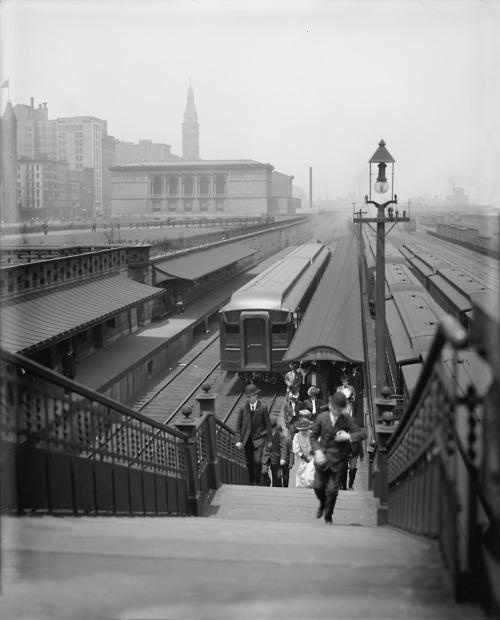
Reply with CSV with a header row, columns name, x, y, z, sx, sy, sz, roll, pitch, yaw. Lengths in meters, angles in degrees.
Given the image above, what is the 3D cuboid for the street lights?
name,x,y,z,sx,sy,sz,roll,pitch,yaw
street lights,1.580,-0.410,7.980,0.336,2.905,0.419,-1,5,7

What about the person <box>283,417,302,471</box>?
name,x,y,z,sx,sy,sz,roll,pitch,yaw
person,0.597,1.733,9.459,0.200,1.180,0.293,-1,-7,0

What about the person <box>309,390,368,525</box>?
name,x,y,z,sx,sy,sz,roll,pitch,yaw
person,0.597,1.106,5.025,0.270,1.078,0.366,-3,13,-24

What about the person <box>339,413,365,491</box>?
name,x,y,z,sx,sy,sz,roll,pitch,yaw
person,1.046,1.465,7.170,0.283,1.024,0.251,4,12,23

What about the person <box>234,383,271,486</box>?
name,x,y,z,sx,sy,sz,roll,pitch,yaw
person,0.046,1.444,7.652,0.306,1.401,0.339,0,22,5

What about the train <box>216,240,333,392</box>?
name,x,y,z,sx,sy,sz,roll,pitch,yaw
train,0.858,-0.452,17.565,1.077,2.552,6.808,0,20,10

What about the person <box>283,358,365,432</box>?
name,x,y,z,sx,sy,sz,roll,pitch,yaw
person,1.465,1.905,12.191,1.194,1.961,1.108,0,4,2

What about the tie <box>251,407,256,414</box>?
name,x,y,z,sx,sy,sz,roll,pitch,yaw
tie,0.043,1.101,7.449,0.042,0.073,0.013,7,5,2
